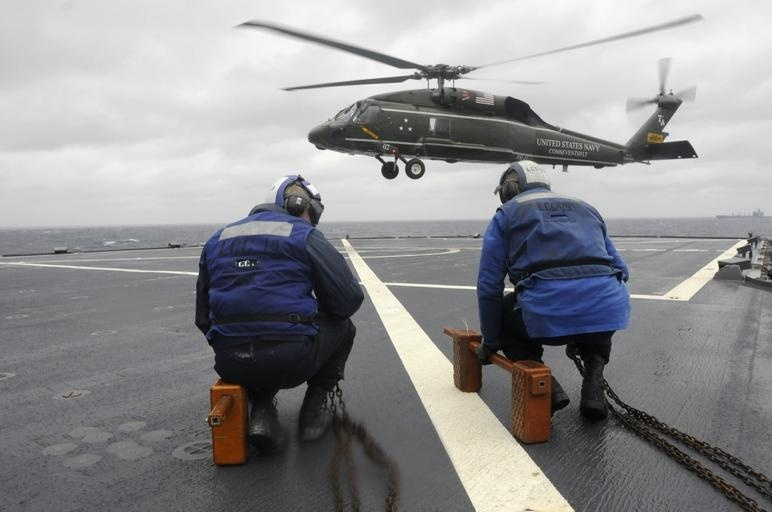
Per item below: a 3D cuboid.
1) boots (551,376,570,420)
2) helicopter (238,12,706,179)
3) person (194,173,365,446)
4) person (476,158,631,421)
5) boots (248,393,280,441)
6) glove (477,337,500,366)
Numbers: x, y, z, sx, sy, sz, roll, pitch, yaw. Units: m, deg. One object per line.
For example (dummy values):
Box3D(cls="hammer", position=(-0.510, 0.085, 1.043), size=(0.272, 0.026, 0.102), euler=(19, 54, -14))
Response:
Box3D(cls="boots", position=(1.314, 1.033, 3.552), size=(0.118, 0.251, 0.183), euler=(-2, 9, 20))
Box3D(cls="helicopter", position=(2.052, -3.890, 13.679), size=(11.185, 3.612, 7.727), euler=(5, 3, -12))
Box3D(cls="person", position=(-0.781, 0.359, 3.552), size=(1.135, 1.928, 0.629), euler=(-9, 9, -20))
Box3D(cls="person", position=(1.345, 0.238, 3.824), size=(1.180, 1.972, 0.978), euler=(-3, 9, 15))
Box3D(cls="boots", position=(-0.895, 1.156, 3.418), size=(0.212, 0.283, 0.264), euler=(-8, 9, -17))
Box3D(cls="glove", position=(0.838, 0.779, 3.853), size=(0.158, 0.072, 0.193), euler=(-4, 7, -15))
